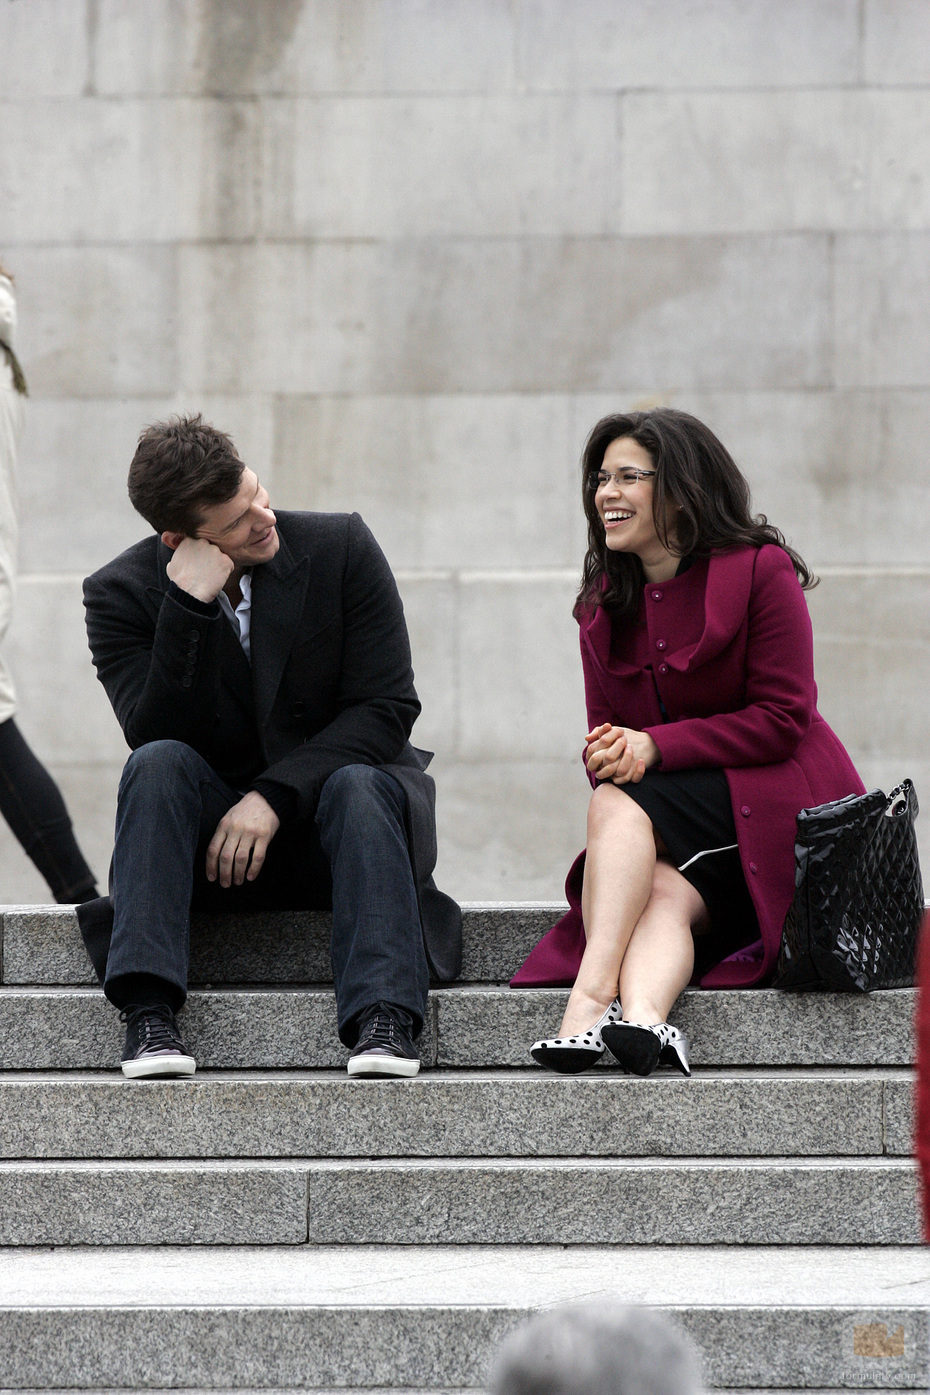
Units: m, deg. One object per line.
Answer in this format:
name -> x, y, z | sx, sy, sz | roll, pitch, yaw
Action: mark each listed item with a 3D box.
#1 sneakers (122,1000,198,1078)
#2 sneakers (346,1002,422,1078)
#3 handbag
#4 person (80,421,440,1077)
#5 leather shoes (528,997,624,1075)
sneakers -> -0.649, 0.743, 5.264 | 0.149, 0.149, 0.154 | 2, 13, -11
sneakers -> -0.174, 0.733, 5.237 | 0.141, 0.151, 0.190 | 4, 13, -3
handbag -> 0.826, 0.434, 5.403 | 0.231, 0.391, 0.426 | 9, 10, 37
person -> -0.456, 0.090, 5.561 | 0.821, 1.370, 1.085 | 3, 13, -9
leather shoes -> 0.238, 0.744, 5.264 | 0.085, 0.105, 0.240 | -9, -1, 28
